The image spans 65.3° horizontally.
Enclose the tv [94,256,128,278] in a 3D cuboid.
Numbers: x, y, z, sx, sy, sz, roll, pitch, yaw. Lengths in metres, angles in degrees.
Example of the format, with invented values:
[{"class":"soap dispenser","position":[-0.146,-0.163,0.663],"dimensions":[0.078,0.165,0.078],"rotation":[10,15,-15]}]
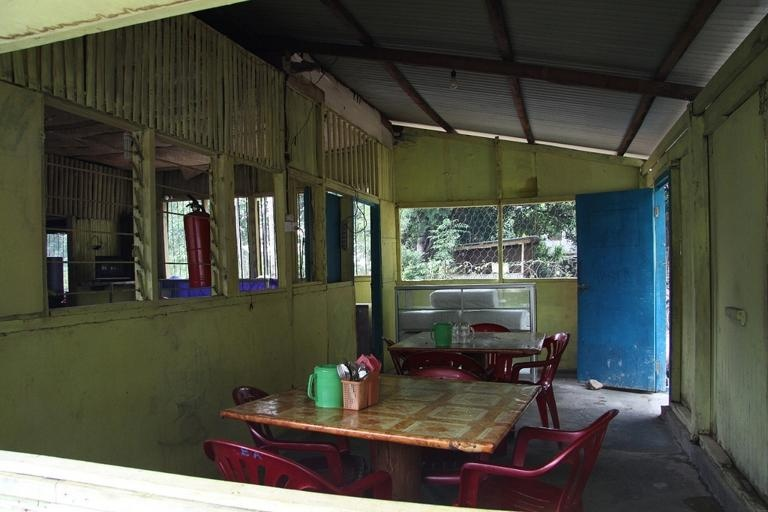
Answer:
[{"class":"tv","position":[-3.614,0.162,7.881],"dimensions":[0.162,0.206,0.317],"rotation":[1,0,44]}]

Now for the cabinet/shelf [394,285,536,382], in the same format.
[{"class":"cabinet/shelf","position":[0.917,0.793,6.290],"dimensions":[1.280,1.176,0.416],"rotation":[0,1,9]}]

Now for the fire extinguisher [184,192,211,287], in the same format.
[{"class":"fire extinguisher","position":[-1.586,-0.126,5.088],"dimensions":[0.219,0.793,0.220],"rotation":[0,-2,-19]}]

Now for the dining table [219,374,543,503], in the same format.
[{"class":"dining table","position":[-0.017,1.124,3.668],"dimensions":[1.085,0.639,1.201],"rotation":[1,4,22]}]

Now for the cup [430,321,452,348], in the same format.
[{"class":"cup","position":[0.525,0.710,5.348],"dimensions":[0.149,0.199,0.209],"rotation":[-1,-2,2]}]

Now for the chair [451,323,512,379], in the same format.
[{"class":"chair","position":[0.995,0.893,5.659],"dimensions":[0.511,0.655,0.506],"rotation":[-2,-9,19]}]
